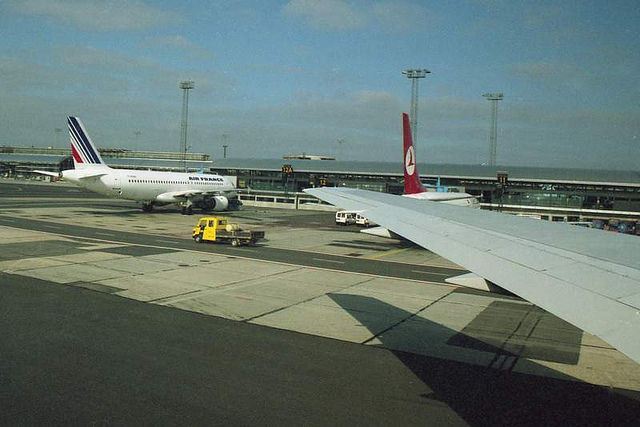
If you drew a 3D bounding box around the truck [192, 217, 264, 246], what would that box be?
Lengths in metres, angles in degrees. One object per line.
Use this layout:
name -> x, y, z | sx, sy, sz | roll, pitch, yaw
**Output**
truck -> -6.805, 1.097, 42.303 | 5.496, 1.363, 1.799 | 2, 2, 21
